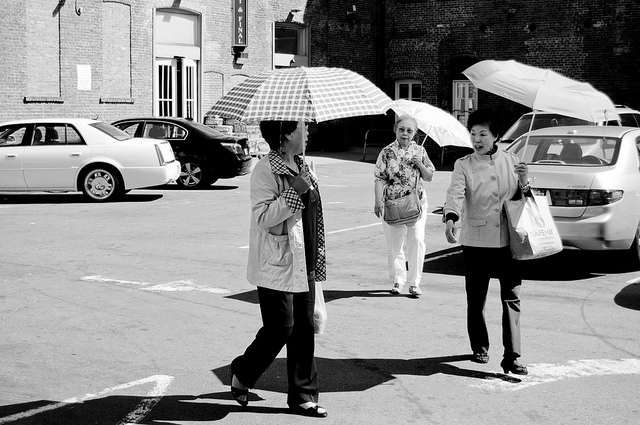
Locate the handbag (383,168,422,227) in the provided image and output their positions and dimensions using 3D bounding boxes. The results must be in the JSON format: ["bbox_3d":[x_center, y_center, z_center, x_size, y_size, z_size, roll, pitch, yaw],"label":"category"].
[{"bbox_3d":[1.140,-0.170,9.234,0.544,0.730,0.393,-15,-22,30],"label":"handbag"}]

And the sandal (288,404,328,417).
[{"bbox_3d":[-0.106,1.748,6.217,0.346,0.086,0.127,1,6,22],"label":"sandal"}]

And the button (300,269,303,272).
[{"bbox_3d":[-0.165,0.497,6.042,0.026,0.018,0.027,1,5,21],"label":"button"}]

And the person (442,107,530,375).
[{"bbox_3d":[1.739,0.256,7.080,0.907,2.587,0.697,5,11,26],"label":"person"}]

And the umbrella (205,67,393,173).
[{"bbox_3d":[-0.297,-1.005,6.544,1.205,0.723,1.200,-7,9,-31],"label":"umbrella"}]

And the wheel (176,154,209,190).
[{"bbox_3d":[-3.576,-1.078,19.320,0.839,0.861,0.297,-7,-3,15],"label":"wheel"}]

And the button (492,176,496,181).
[{"bbox_3d":[1.773,-0.354,7.050,0.034,0.035,0.008,0,-11,0],"label":"button"}]

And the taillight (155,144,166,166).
[{"bbox_3d":[-3.875,-1.401,16.747,0.231,0.512,0.145,-4,11,-26],"label":"taillight"}]

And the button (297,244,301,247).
[{"bbox_3d":[-0.184,0.281,6.062,0.011,0.015,0.060,9,8,18],"label":"button"}]

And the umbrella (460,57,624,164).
[{"bbox_3d":[2.483,-1.119,7.930,1.544,0.898,1.574,8,21,9],"label":"umbrella"}]

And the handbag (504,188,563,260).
[{"bbox_3d":[2.170,0.113,7.065,0.572,0.668,0.349,-5,11,-30],"label":"handbag"}]

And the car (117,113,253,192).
[{"bbox_3d":[-4.198,-1.707,19.884,4.448,1.665,1.959,3,4,2],"label":"car"}]

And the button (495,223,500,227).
[{"bbox_3d":[1.795,0.117,6.992,0.038,0.039,0.009,0,-3,6],"label":"button"}]

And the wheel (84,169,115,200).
[{"bbox_3d":[-5.313,-0.698,16.781,0.840,0.860,0.328,7,-1,1],"label":"wheel"}]

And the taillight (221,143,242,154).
[{"bbox_3d":[-2.408,-1.789,19.135,0.230,0.300,0.591,10,14,41],"label":"taillight"}]

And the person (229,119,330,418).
[{"bbox_3d":[-0.342,0.485,6.154,0.833,2.592,0.568,-1,10,-7],"label":"person"}]

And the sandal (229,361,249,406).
[{"bbox_3d":[-0.744,1.542,6.303,0.131,0.378,0.100,-10,4,-36],"label":"sandal"}]
